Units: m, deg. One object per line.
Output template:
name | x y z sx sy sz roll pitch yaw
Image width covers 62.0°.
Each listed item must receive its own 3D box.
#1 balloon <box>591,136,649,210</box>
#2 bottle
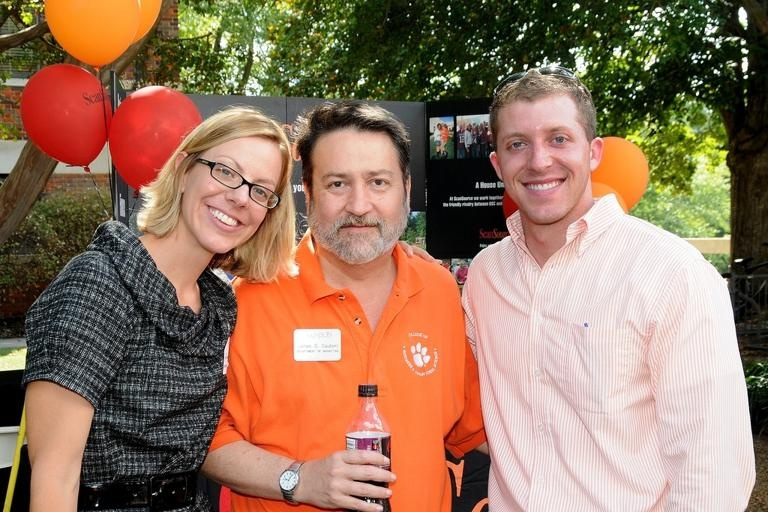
balloon | 2.170 -0.728 5.975 0.573 0.647 0.572 -10 -6 19
bottle | -0.064 0.936 3.114 0.235 0.643 0.302 3 -6 -6
